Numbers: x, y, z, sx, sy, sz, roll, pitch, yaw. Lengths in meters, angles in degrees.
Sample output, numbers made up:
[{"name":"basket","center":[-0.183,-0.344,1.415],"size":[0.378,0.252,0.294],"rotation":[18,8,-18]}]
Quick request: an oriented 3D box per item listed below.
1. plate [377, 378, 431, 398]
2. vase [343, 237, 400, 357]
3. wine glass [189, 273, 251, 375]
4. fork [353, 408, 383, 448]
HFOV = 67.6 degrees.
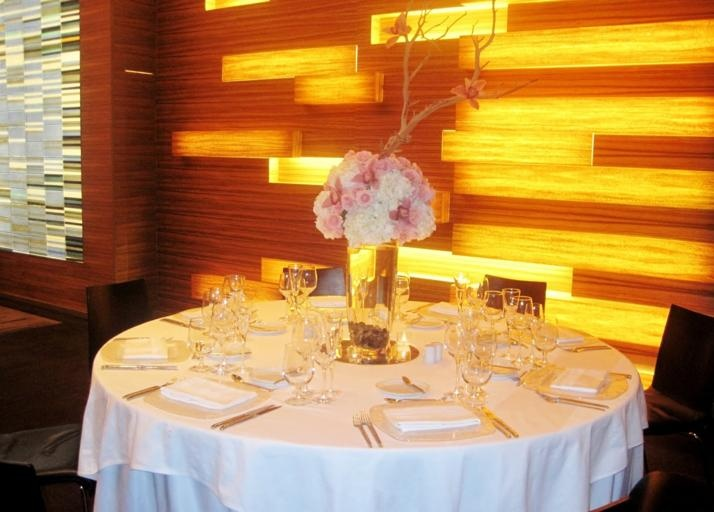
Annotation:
[{"name":"plate","center":[0.177,0.502,2.033],"size":[0.181,0.028,0.150],"rotation":[8,14,29]},{"name":"vase","center":[0.047,0.203,2.565],"size":[0.296,0.522,0.280],"rotation":[3,-1,-31]},{"name":"wine glass","center":[-0.597,0.306,2.334],"size":[0.255,0.418,0.249],"rotation":[-5,16,-42]},{"name":"fork","center":[0.032,0.567,1.751],"size":[0.040,0.016,0.136],"rotation":[-8,23,-14]}]
